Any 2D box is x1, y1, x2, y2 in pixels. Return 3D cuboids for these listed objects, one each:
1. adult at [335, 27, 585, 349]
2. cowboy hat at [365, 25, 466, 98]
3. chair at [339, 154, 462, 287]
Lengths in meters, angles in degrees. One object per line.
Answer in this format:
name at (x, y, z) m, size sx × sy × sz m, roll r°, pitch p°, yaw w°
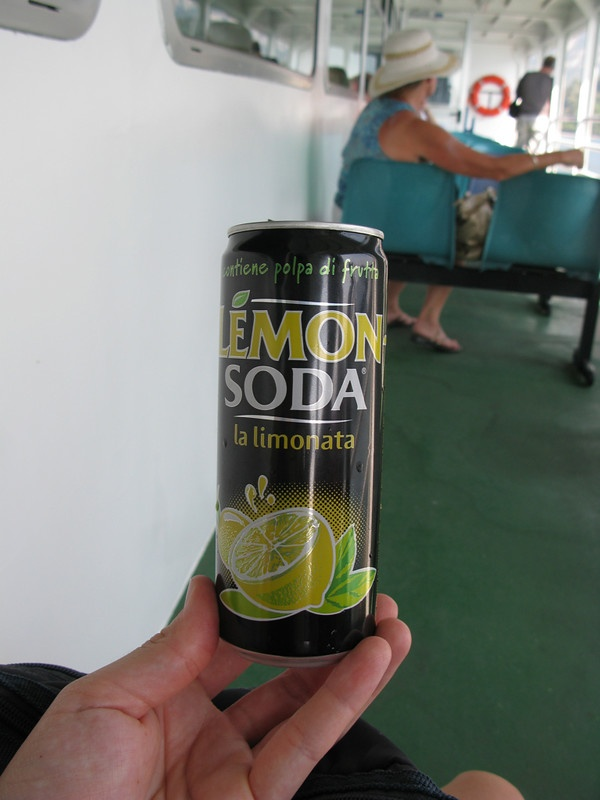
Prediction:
adult at (0.349, -0.461, 1.586) m, size 0.470 × 0.715 × 0.547 m, roll -7°, pitch 24°, yaw -8°
cowboy hat at (0.228, -0.700, 1.409) m, size 0.181 × 0.089 × 0.156 m, roll -5°, pitch 1°, yaw 22°
chair at (0.254, -0.463, 1.590) m, size 0.279 × 0.257 × 0.148 m, roll 9°, pitch 40°, yaw 17°
